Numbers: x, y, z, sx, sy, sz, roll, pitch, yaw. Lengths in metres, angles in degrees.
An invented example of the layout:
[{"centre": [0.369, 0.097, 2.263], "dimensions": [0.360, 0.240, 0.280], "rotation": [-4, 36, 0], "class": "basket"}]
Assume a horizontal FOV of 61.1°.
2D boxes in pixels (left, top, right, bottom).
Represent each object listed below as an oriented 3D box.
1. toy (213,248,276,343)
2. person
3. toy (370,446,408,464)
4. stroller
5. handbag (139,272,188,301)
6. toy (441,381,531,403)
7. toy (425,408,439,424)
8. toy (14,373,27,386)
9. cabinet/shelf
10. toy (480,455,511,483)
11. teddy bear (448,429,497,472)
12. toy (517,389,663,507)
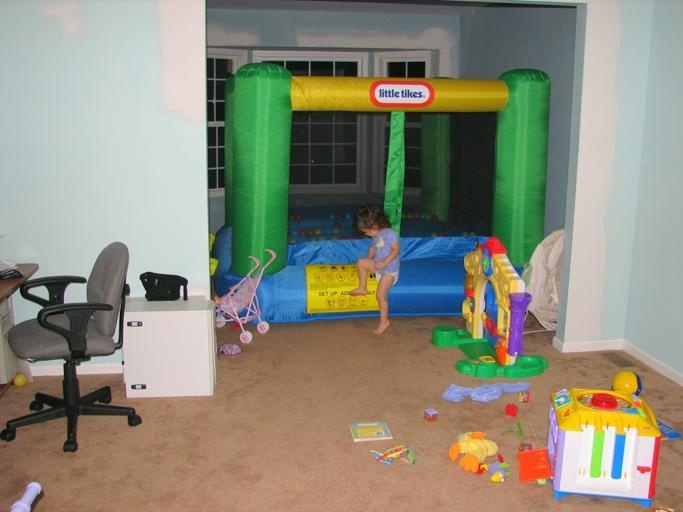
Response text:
[{"centre": [-0.958, 0.363, 5.409], "dimensions": [0.566, 0.786, 0.552], "rotation": [1, 14, 12], "class": "toy"}, {"centre": [0.327, 0.125, 5.527], "dimensions": [0.468, 1.170, 0.399], "rotation": [-6, 15, -16], "class": "person"}, {"centre": [0.304, 1.246, 3.634], "dimensions": [0.142, 0.052, 0.100], "rotation": [-10, 17, -19], "class": "toy"}, {"centre": [-1.007, 0.323, 5.715], "dimensions": [0.825, 1.087, 0.608], "rotation": [5, 10, 7], "class": "stroller"}, {"centre": [-1.396, 0.210, 4.484], "dimensions": [0.270, 0.159, 0.248], "rotation": [0, 6, -17], "class": "handbag"}, {"centre": [1.078, 1.035, 4.364], "dimensions": [0.526, 0.061, 0.241], "rotation": [0, 11, -1], "class": "toy"}, {"centre": [0.631, 1.124, 4.056], "dimensions": [0.077, 0.055, 0.077], "rotation": [-7, 18, -25], "class": "toy"}, {"centre": [-2.537, 0.966, 4.494], "dimensions": [0.066, 0.058, 0.057], "rotation": [19, 45, 38], "class": "toy"}, {"centre": [-1.319, 0.701, 4.609], "dimensions": [0.677, 0.678, 0.715], "rotation": [1, 10, -4], "class": "cabinet/shelf"}, {"centre": [0.959, 1.293, 3.538], "dimensions": [0.163, 0.069, 0.243], "rotation": [10, 18, 41], "class": "toy"}, {"centre": [0.831, 1.225, 3.650], "dimensions": [0.250, 0.124, 0.324], "rotation": [8, 17, 37], "class": "teddy bear"}, {"centre": [1.555, 1.042, 3.538], "dimensions": [0.615, 0.548, 0.631], "rotation": [1, 9, 12], "class": "toy"}]
